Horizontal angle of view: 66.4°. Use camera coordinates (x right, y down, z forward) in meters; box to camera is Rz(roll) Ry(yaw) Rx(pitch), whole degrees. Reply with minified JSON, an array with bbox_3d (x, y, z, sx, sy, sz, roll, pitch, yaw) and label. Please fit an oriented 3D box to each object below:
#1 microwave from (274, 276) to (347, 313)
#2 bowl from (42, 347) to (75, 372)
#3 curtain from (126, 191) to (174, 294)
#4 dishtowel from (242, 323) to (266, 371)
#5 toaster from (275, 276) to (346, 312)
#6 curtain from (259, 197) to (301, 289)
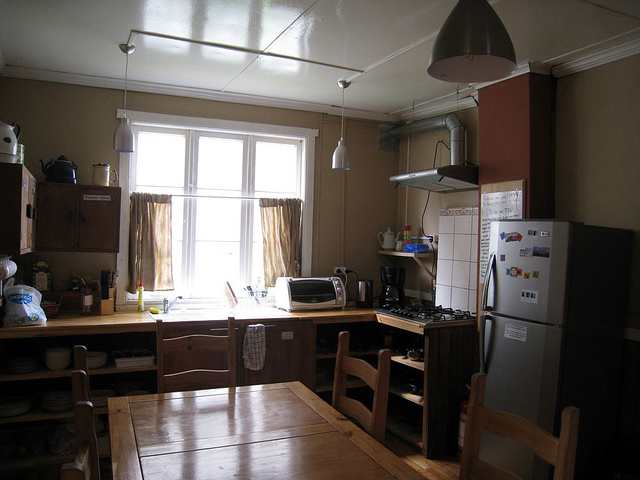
[{"bbox_3d":[-0.102,0.578,5.003,0.667,0.362,0.556,0,-11,-11],"label":"microwave"},{"bbox_3d":[-2.107,0.951,3.938,0.211,0.169,0.251,-5,12,-31],"label":"bowl"},{"bbox_3d":[-1.587,0.021,4.689,0.378,0.961,0.156,3,8,6],"label":"curtain"},{"bbox_3d":[-0.574,0.955,4.284,0.198,0.420,0.125,-1,10,-9],"label":"dishtowel"},{"bbox_3d":[-0.092,0.526,4.890,0.649,0.315,0.305,-2,11,-19],"label":"toaster"},{"bbox_3d":[-0.410,0.023,5.137,0.434,0.913,0.227,-1,10,-10],"label":"curtain"}]
